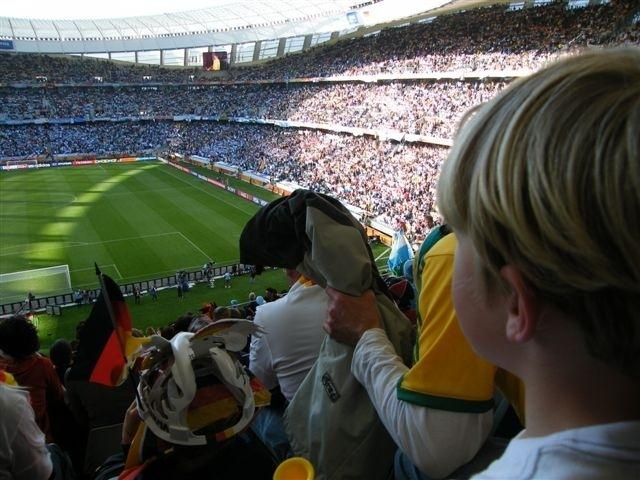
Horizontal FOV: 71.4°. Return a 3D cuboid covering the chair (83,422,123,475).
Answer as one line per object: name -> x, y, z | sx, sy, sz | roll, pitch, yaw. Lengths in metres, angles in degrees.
chair -> -1.938, 1.867, 3.986 | 0.333, 0.170, 0.487 | -12, 22, -18
